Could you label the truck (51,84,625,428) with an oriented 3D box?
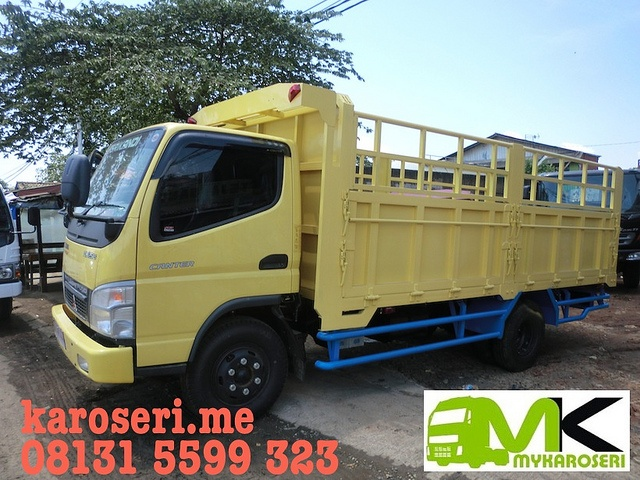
[{"bbox_3d":[0.777,0.055,7.126,8.136,3.713,3.476,1,-2,-29],"label":"truck"}]
